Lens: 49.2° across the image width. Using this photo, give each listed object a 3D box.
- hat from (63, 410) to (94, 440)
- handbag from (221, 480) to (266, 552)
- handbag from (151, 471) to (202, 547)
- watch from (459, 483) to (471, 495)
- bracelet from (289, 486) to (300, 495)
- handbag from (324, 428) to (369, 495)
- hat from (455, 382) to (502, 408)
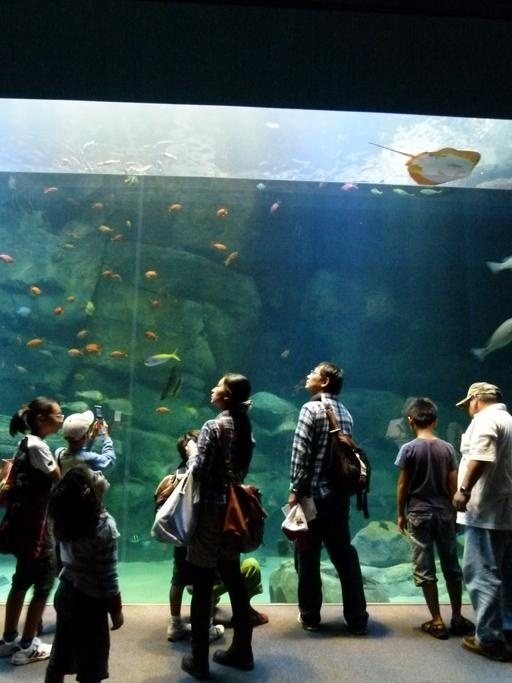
[{"bbox_3d":[-1.141,0.534,3.581,0.174,0.186,0.219,5,-12,-18],"label":"hat"},{"bbox_3d":[-0.061,1.113,3.557,0.334,0.424,0.132,12,-16,-42],"label":"handbag"},{"bbox_3d":[-0.516,1.070,3.599,0.290,0.475,0.206,2,-12,-7],"label":"handbag"},{"bbox_3d":[1.459,1.032,3.906,0.070,0.042,0.064,3,-12,41],"label":"watch"},{"bbox_3d":[0.276,1.094,4.094,0.046,0.056,0.056,0,-20,-3],"label":"bracelet"},{"bbox_3d":[0.713,0.926,4.371,0.298,0.490,0.414,-17,-26,18],"label":"handbag"},{"bbox_3d":[1.679,0.388,4.393,0.409,0.195,0.253,-1,-13,35],"label":"hat"}]
